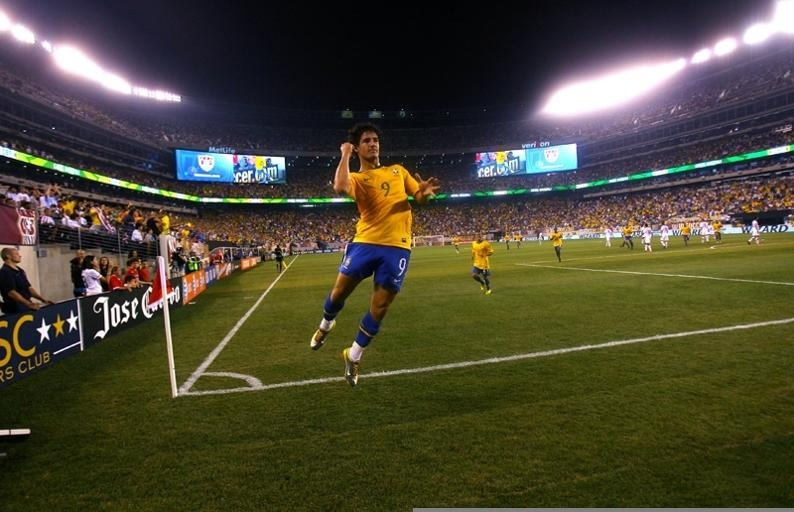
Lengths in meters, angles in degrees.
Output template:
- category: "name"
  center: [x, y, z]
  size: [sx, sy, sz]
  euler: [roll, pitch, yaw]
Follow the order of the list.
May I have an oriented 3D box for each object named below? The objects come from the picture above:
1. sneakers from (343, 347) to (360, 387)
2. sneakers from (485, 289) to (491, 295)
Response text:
- category: "sneakers"
  center: [-0.736, 1.822, 8.089]
  size: [0.297, 0.639, 0.246]
  euler: [-9, -4, 32]
- category: "sneakers"
  center: [2.790, 1.134, 15.366]
  size: [0.102, 0.105, 0.264]
  euler: [-6, -12, 16]
